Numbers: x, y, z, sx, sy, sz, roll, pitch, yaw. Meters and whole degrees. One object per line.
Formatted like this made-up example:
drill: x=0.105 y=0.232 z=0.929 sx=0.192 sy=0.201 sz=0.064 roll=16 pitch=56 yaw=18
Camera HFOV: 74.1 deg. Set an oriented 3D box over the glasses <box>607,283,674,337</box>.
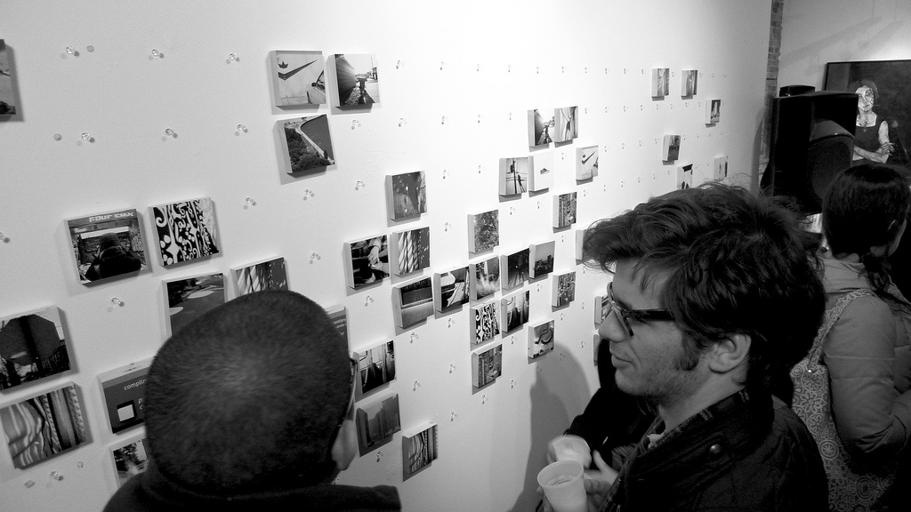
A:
glasses: x=0.661 y=0.198 z=2.192 sx=0.198 sy=0.057 sz=0.192 roll=8 pitch=14 yaw=-3
